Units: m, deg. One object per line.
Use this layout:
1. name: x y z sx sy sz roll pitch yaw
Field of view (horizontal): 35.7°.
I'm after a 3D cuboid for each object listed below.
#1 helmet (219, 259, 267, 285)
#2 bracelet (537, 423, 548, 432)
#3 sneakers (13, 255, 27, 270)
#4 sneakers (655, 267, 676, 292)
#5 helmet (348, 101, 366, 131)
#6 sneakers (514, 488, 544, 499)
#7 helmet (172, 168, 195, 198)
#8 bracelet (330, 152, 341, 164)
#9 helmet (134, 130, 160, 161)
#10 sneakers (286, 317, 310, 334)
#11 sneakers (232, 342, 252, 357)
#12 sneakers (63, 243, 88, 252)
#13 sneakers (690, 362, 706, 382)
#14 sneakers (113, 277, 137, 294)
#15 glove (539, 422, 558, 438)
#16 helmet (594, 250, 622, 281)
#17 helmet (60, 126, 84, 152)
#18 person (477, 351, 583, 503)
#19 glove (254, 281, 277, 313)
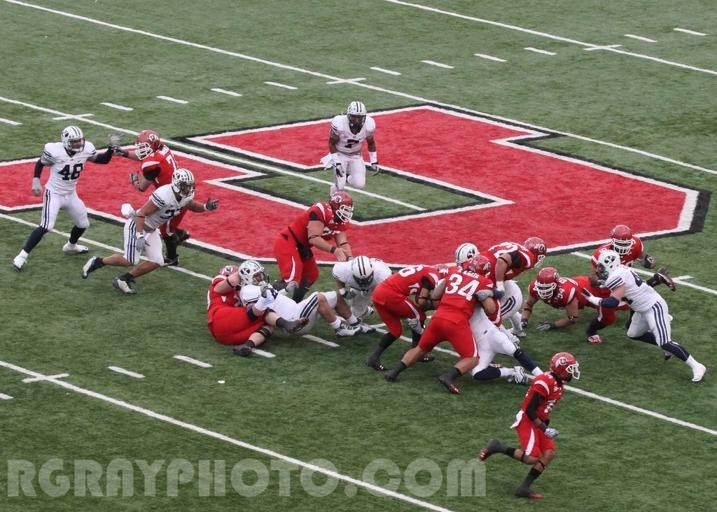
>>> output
1. helmet: -1.415 0.208 13.954 0.365 0.338 0.567 -5 20 -32
2. bracelet: 1.931 1.843 11.814 0.150 0.072 0.120 -14 2 9
3. sneakers: -4.723 0.095 15.554 0.194 0.096 0.206 -2 50 22
4. sneakers: 4.169 0.352 15.276 0.242 0.440 0.144 -33 38 16
5. helmet: -0.043 -2.218 17.685 0.298 0.490 0.316 8 21 -3
6. sneakers: 1.773 2.554 11.799 0.370 0.086 0.094 2 14 0
7. helmet: -2.393 -0.975 15.178 0.299 0.416 0.271 5 21 -9
8. bracelet: -0.373 -1.557 17.743 0.164 0.173 0.244 7 17 -3
9. helmet: -2.981 -1.561 15.842 0.328 0.431 0.340 5 20 -9
10. sneakers: -0.754 0.924 14.049 0.213 0.261 0.250 12 20 11
11. sneakers: -1.429 1.174 13.886 0.257 0.193 0.169 3 20 -11
12. sneakers: -4.089 -0.106 16.160 0.350 0.097 0.129 1 43 -10
13. sneakers: 4.128 1.464 13.712 0.148 0.114 0.313 48 35 2
14. sneakers: -3.184 0.434 15.192 0.228 0.109 0.419 -17 -26 40
15. glove: 2.008 1.891 11.867 0.215 0.067 0.132 21 37 32
16. helmet: 3.164 0.136 14.276 0.284 0.372 0.450 8 18 -2
17. helmet: -4.007 -1.647 15.703 0.293 0.352 0.270 4 20 -11
18. person: 1.928 1.828 11.894 0.725 1.489 0.917 21 24 26
19. glove: -1.173 0.526 13.851 0.242 0.370 0.269 27 27 -28
